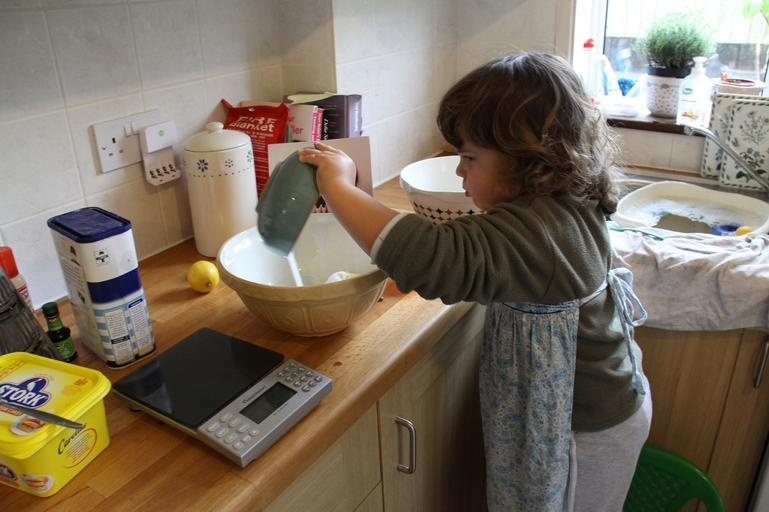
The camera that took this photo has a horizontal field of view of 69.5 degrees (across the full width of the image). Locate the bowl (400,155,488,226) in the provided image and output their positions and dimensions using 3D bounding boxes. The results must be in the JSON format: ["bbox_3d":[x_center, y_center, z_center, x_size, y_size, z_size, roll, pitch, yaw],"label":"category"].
[{"bbox_3d":[0.134,-0.189,1.529,0.285,0.217,0.262,2,25,-1],"label":"bowl"}]

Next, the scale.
[{"bbox_3d":[-0.315,0.265,1.088,0.364,0.099,0.217,10,27,27],"label":"scale"}]

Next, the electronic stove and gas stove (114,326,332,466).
[{"bbox_3d":[-0.329,0.253,1.070,0.300,0.065,0.220,21,36,23],"label":"electronic stove and gas stove"}]

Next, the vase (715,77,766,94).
[{"bbox_3d":[1.284,-0.616,2.009,0.144,0.049,0.146,1,24,7],"label":"vase"}]

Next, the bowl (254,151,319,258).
[{"bbox_3d":[-0.205,-0.108,1.146,0.123,0.191,0.131,-2,25,1],"label":"bowl"}]
